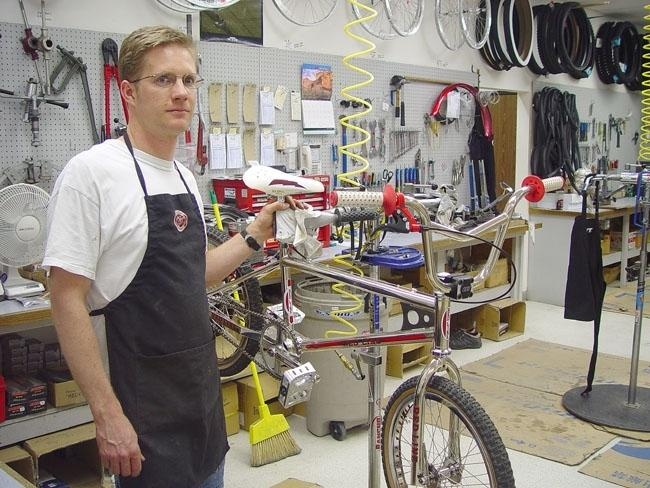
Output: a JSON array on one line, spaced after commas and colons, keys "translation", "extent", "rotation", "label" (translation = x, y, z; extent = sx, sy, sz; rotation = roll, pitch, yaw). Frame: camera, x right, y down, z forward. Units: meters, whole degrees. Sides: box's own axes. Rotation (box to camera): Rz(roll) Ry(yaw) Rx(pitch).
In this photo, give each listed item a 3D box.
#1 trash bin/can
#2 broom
[{"translation": [0.032, 0.694, 3.787], "extent": [0.632, 1.069, 0.592], "rotation": [-3, 13, -40], "label": "trash bin/can"}, {"translation": [-0.322, 0.486, 3.552], "extent": [0.535, 1.583, 0.509], "rotation": [16, 15, 42], "label": "broom"}]
